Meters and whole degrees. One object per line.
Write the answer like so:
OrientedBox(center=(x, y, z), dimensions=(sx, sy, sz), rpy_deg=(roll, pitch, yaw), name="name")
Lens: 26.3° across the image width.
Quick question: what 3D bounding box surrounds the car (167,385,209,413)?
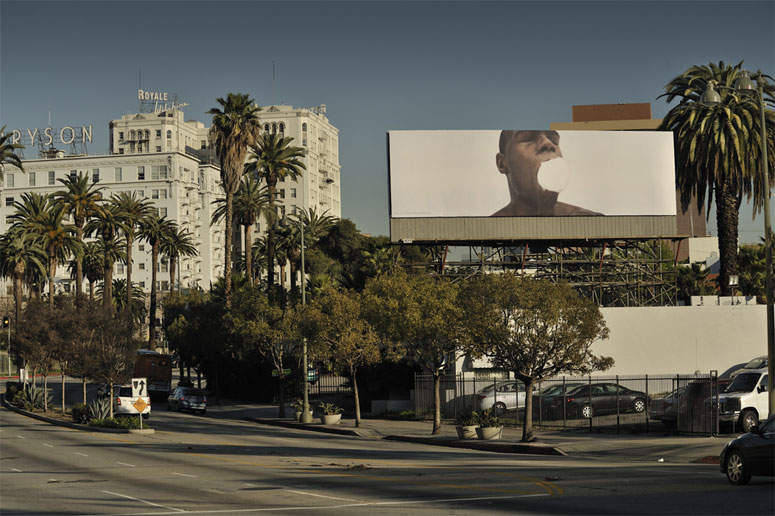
OrientedBox(center=(-17.913, 12.659, 150.290), dimensions=(4.110, 2.455, 1.728), rpy_deg=(-5, -6, 38), name="car")
